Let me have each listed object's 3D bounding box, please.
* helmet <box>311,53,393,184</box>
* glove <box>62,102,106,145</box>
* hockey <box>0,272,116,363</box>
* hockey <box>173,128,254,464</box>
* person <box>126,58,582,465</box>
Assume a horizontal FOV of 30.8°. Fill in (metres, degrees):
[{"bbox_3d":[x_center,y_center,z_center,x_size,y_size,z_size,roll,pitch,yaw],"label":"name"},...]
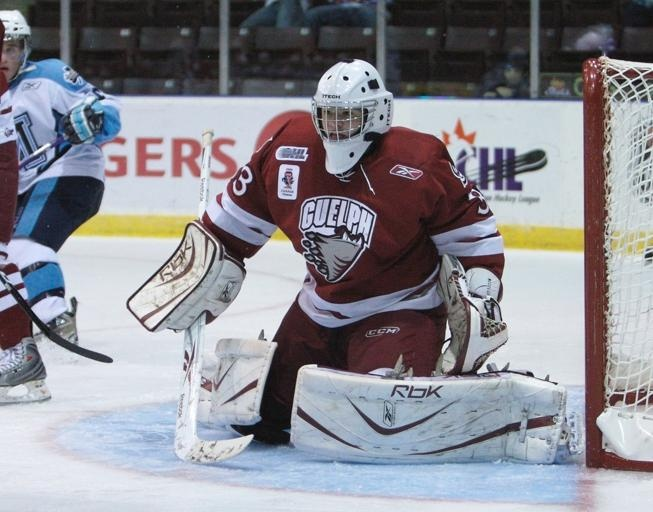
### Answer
[{"bbox_3d":[0.089,-0.552,4.570,0.327,0.393,0.348,3,17,15],"label":"helmet"},{"bbox_3d":[-1.107,-0.634,5.534,0.154,0.077,0.207,-37,16,33],"label":"glove"},{"bbox_3d":[-1.259,0.300,5.524,0.105,0.085,0.758,1,26,-38],"label":"hockey"},{"bbox_3d":[-0.505,0.161,4.556,0.306,1.281,0.053,-19,-39,38],"label":"hockey"},{"bbox_3d":[0.057,0.013,4.533,1.764,1.455,1.106,3,10,23],"label":"person"}]
